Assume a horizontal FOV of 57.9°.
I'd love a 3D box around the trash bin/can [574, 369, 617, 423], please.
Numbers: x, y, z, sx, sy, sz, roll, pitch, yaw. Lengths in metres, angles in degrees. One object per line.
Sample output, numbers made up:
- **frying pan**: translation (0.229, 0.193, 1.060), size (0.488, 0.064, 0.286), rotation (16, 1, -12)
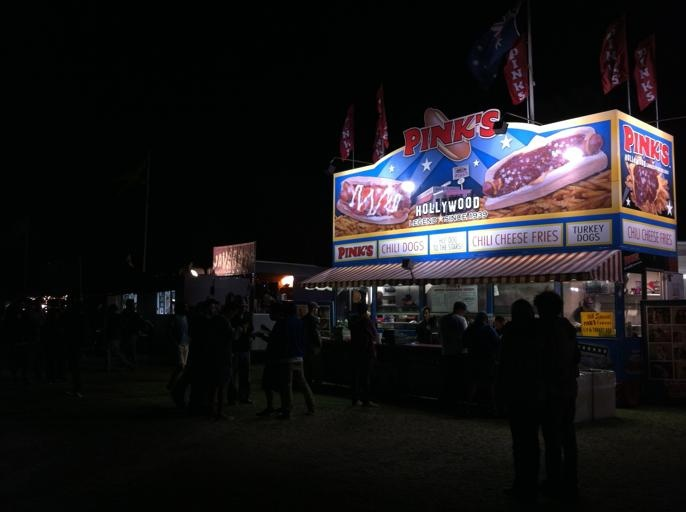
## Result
- **trash bin/can**: translation (5.041, 2.804, 12.751), size (0.891, 0.908, 0.689), rotation (2, -5, -21)
